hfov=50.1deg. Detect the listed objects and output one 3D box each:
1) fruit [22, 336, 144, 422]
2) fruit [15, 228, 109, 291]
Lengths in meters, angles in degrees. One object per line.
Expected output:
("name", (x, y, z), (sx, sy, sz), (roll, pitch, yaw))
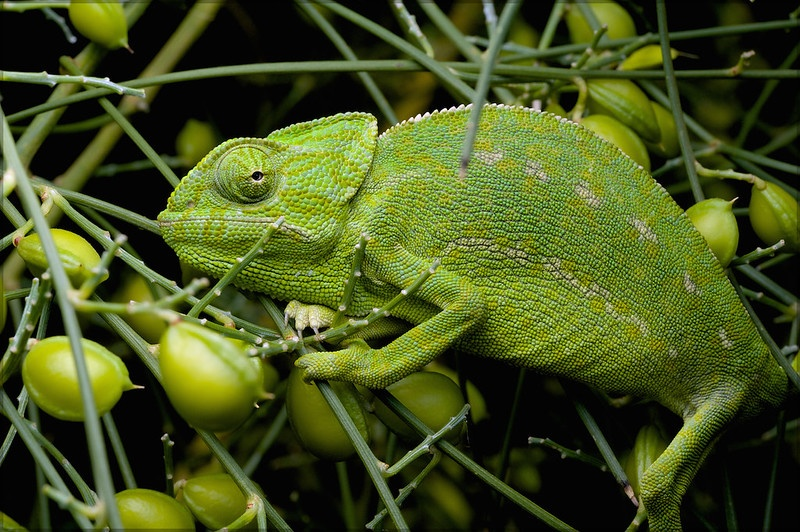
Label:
("fruit", (-0.532, 0.197, 1.457), (0.204, 0.127, 0.132), (5, 53, 19))
("fruit", (-0.570, -0.012, 1.436), (0.119, 0.070, 0.079), (22, -10, 0))
